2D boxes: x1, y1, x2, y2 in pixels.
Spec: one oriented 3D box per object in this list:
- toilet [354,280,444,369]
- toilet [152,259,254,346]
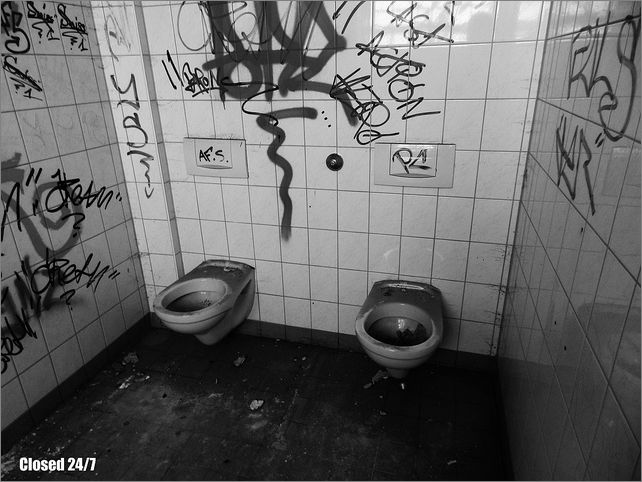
[{"bbox_3d":[0.480,0.574,2.638,0.480,0.413,0.633,1,28,6],"label":"toilet"},{"bbox_3d":[-0.754,0.484,3.011,0.447,0.479,0.731,7,26,20],"label":"toilet"}]
